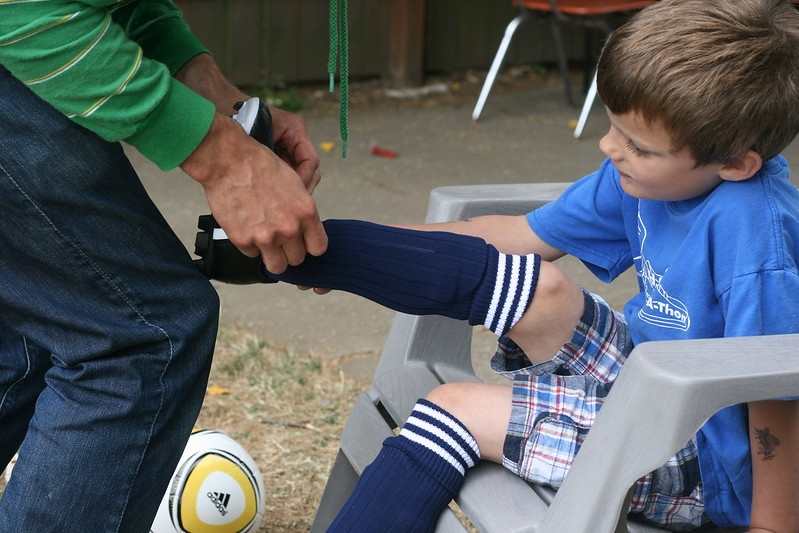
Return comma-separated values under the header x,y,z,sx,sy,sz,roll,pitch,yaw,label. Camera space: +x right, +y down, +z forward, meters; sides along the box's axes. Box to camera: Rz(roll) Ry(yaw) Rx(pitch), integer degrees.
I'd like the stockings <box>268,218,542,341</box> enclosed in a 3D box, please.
x,y,z,sx,sy,sz,roll,pitch,yaw,label
0.000,-0.003,1.419,0.514,0.182,0.205,20,1,-35,stockings

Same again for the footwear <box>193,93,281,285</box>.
x,y,z,sx,sy,sz,roll,pitch,yaw,label
-0.244,-0.114,1.465,0.128,0.345,0.194,5,-2,-37,footwear
